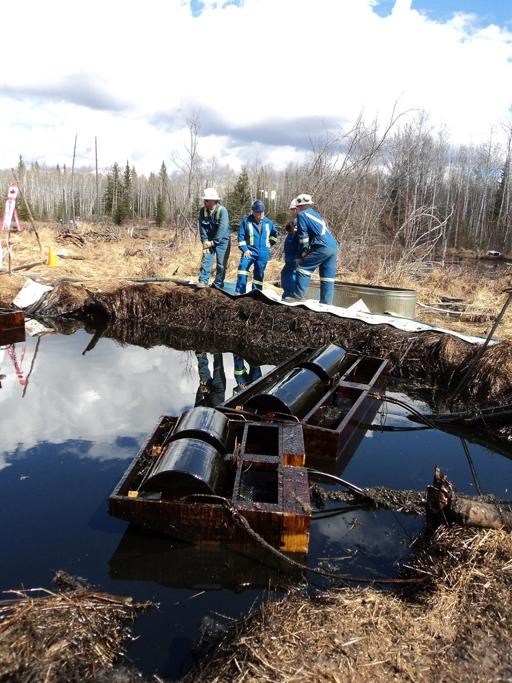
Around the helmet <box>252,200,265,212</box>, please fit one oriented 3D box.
[{"bbox_3d":[0.062,-2.604,9.174,0.186,0.169,0.258,-2,11,-7],"label":"helmet"}]

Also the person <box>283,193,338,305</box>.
[{"bbox_3d":[1.063,-1.748,9.060,0.948,2.020,0.926,4,12,-3],"label":"person"}]

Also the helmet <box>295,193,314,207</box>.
[{"bbox_3d":[0.875,-2.638,8.919,0.302,0.249,0.510,5,12,3],"label":"helmet"}]
